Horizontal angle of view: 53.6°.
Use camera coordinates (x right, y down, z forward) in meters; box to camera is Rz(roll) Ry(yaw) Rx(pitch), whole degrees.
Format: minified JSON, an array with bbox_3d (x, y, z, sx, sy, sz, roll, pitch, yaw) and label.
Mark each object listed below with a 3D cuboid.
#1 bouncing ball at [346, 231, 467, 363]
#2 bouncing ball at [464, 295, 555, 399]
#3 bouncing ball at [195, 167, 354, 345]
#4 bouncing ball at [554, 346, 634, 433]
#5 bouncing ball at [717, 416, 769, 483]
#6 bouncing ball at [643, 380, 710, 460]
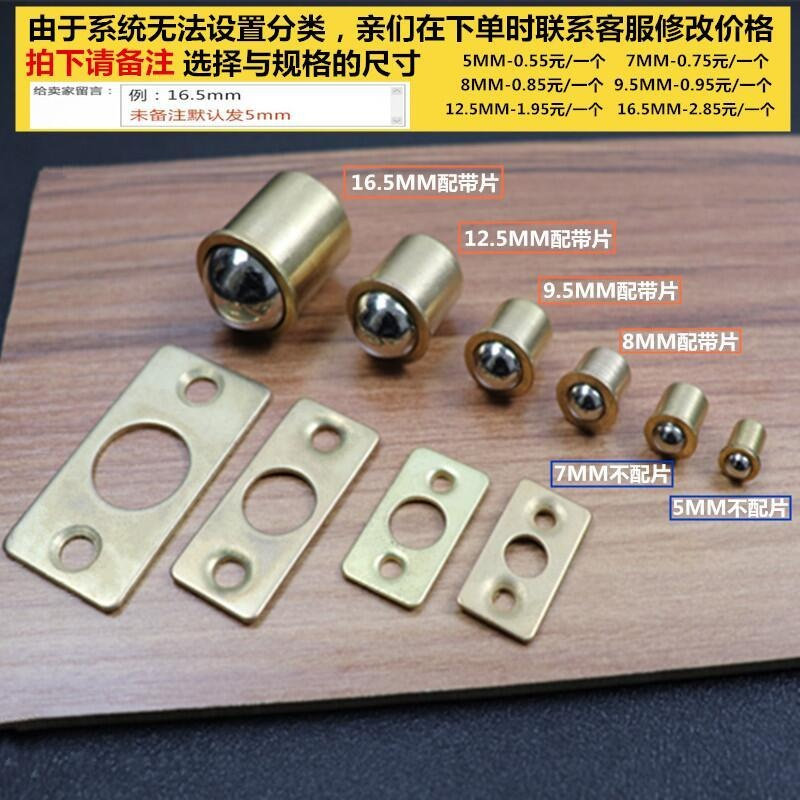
[{"bbox_3d":[0.015,-0.165,1.390,0.169,0.165,0.197,26,49,27],"label":"bouncing ball"},{"bbox_3d":[0.177,-0.104,1.423,0.141,0.140,0.157,20,45,22],"label":"bouncing ball"},{"bbox_3d":[-0.219,-0.253,1.417,0.228,0.201,0.271,32,58,26],"label":"bouncing ball"},{"bbox_3d":[0.335,-0.008,1.348,0.113,0.108,0.119,-1,32,0],"label":"bouncing ball"},{"bbox_3d":[0.581,0.083,1.339,0.069,0.062,0.088,15,48,38],"label":"bouncing ball"},{"bbox_3d":[0.475,0.037,1.359,0.087,0.092,0.112,12,35,30],"label":"bouncing ball"}]
